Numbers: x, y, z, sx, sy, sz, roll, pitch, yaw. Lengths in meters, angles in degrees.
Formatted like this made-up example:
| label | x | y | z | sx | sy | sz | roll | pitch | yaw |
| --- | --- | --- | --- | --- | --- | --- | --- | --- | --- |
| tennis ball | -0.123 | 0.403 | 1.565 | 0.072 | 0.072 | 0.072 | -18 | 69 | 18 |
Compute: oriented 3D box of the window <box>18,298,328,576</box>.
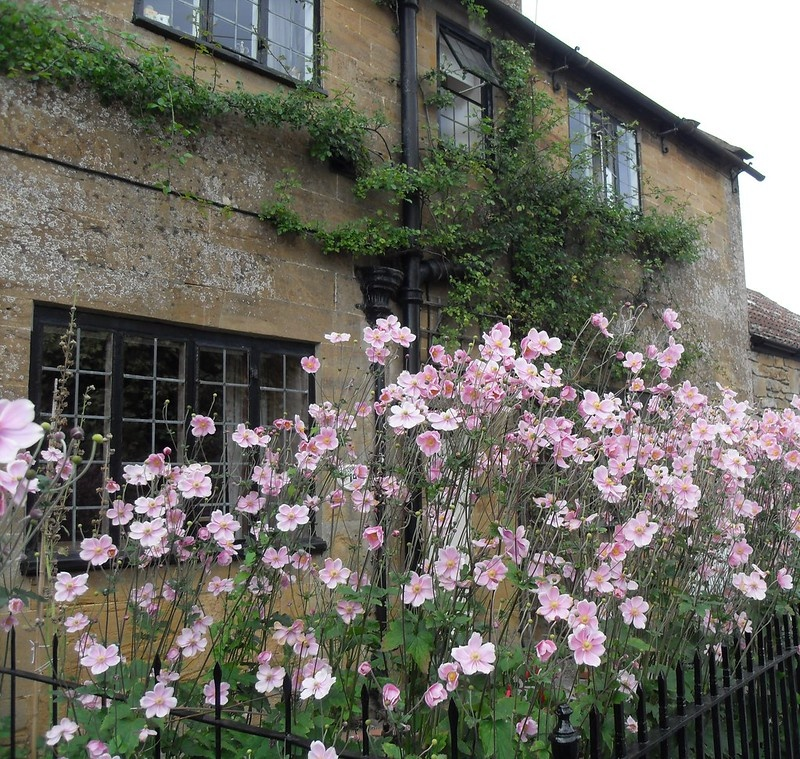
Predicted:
| label | x | y | z | sx | sy | sz | roll | pitch | yaw |
| --- | --- | --- | --- | --- | --- | --- | --- | --- | --- |
| window | -1.239 | 0.279 | 5.448 | 1.544 | 1.315 | 0.062 | 6 | -10 | -38 |
